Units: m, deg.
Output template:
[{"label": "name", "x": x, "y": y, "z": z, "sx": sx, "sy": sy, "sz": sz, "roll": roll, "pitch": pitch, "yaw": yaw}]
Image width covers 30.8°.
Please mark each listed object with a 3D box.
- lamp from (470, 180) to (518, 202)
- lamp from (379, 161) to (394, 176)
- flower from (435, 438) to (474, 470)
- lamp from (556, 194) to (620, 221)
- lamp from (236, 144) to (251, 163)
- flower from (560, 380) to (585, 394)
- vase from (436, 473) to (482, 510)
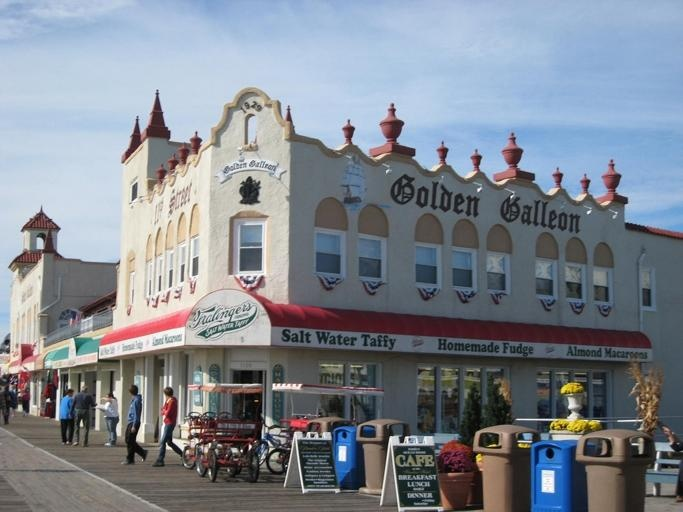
[{"label": "lamp", "x": 5.768, "y": -2.419, "z": 46.165, "sx": 2.019, "sy": 0.658, "sz": 0.274, "roll": -5, "pitch": 1, "yaw": -38}, {"label": "lamp", "x": 1.626, "y": -3.110, "z": 43.528, "sx": 0.371, "sy": 0.393, "sz": 0.091, "roll": 26, "pitch": -13, "yaw": -19}, {"label": "flower", "x": 3.099, "y": 5.446, "z": 33.455, "sx": 0.628, "sy": 0.727, "sz": 0.790, "roll": -3, "pitch": -15, "yaw": 13}, {"label": "lamp", "x": 9.317, "y": -1.813, "z": 47.407, "sx": 2.686, "sy": 0.704, "sz": 0.390, "roll": 13, "pitch": -11, "yaw": -40}, {"label": "lamp", "x": -3.233, "y": -3.493, "z": 41.787, "sx": 0.528, "sy": 0.534, "sz": 0.124, "roll": -4, "pitch": 1, "yaw": 29}, {"label": "flower", "x": 6.515, "y": 3.778, "z": 35.120, "sx": 0.497, "sy": 0.346, "sz": 1.038, "roll": -4, "pitch": 0, "yaw": 3}, {"label": "vase", "x": 3.074, "y": 6.318, "z": 33.083, "sx": 0.900, "sy": 0.716, "sz": 0.937, "roll": -2, "pitch": -11, "yaw": 8}]
